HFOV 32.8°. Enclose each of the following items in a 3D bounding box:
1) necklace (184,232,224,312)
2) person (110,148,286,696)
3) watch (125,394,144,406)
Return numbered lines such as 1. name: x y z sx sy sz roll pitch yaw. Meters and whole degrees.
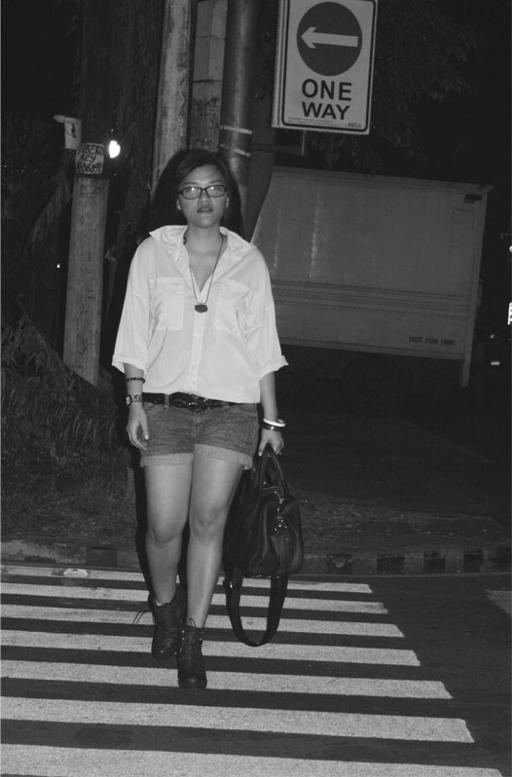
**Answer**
1. necklace: -0.169 -0.414 3.134 0.091 0.297 0.228 5 3 24
2. person: -0.216 0.096 3.172 0.618 1.956 0.366 4 3 2
3. watch: -0.440 0.040 3.085 0.046 0.038 0.054 -1 -3 -1
